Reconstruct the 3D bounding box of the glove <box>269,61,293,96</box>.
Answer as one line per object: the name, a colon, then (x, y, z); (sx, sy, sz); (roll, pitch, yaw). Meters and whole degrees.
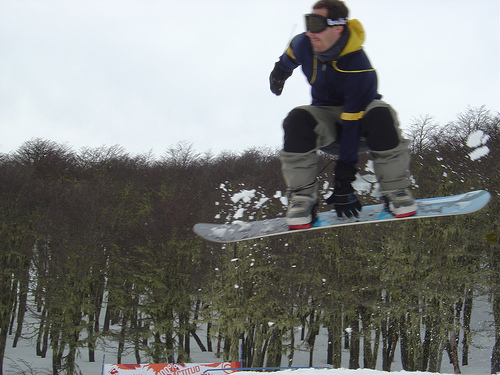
glove: (0.959, -3.646, 18.825); (0.567, 0.904, 0.687); (7, -19, -23)
